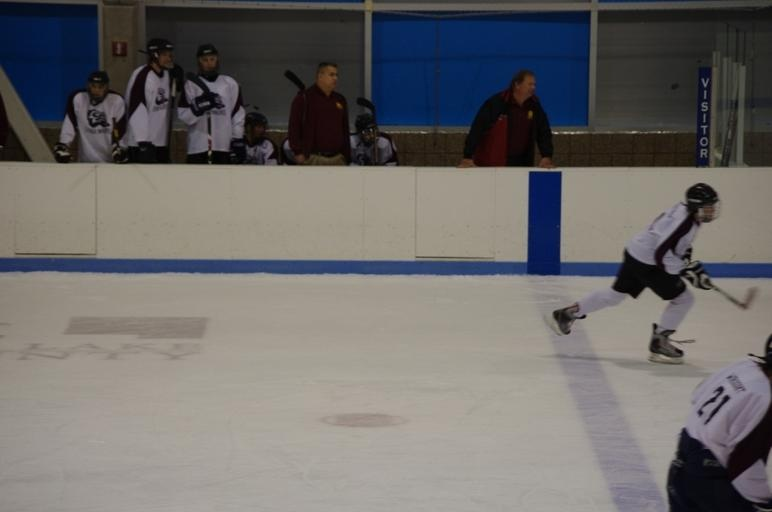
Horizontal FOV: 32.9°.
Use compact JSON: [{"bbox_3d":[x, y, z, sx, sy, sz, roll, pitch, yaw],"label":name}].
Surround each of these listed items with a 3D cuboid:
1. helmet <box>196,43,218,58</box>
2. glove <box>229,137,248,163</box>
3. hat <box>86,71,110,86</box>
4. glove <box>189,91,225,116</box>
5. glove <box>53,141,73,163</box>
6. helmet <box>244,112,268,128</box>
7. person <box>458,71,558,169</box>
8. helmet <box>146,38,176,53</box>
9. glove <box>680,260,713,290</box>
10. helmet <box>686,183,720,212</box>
[{"bbox_3d":[-2.089,-2.373,15.182,0.246,0.121,0.345,-5,7,-8],"label":"helmet"},{"bbox_3d":[-1.719,-1.212,15.147,0.177,0.290,0.170,-4,15,-9],"label":"glove"},{"bbox_3d":[-3.387,-2.090,15.310,0.218,0.174,0.175,-1,10,-3],"label":"hat"},{"bbox_3d":[-2.076,-1.765,15.058,0.300,0.135,0.248,-18,49,-3],"label":"glove"},{"bbox_3d":[-3.760,-1.203,15.175,0.262,0.279,0.189,-1,10,-15],"label":"glove"},{"bbox_3d":[-1.588,-1.653,15.864,0.169,0.199,0.228,-5,16,-38],"label":"helmet"},{"bbox_3d":[1.487,-1.387,15.368,1.032,1.610,0.864,4,21,2],"label":"person"},{"bbox_3d":[-2.639,-2.436,15.127,0.383,0.139,0.281,1,2,3],"label":"helmet"},{"bbox_3d":[2.950,0.200,12.552,0.232,0.307,0.158,-31,-7,-24],"label":"glove"},{"bbox_3d":[2.986,-0.576,12.335,0.287,0.253,0.219,-10,21,-7],"label":"helmet"}]
